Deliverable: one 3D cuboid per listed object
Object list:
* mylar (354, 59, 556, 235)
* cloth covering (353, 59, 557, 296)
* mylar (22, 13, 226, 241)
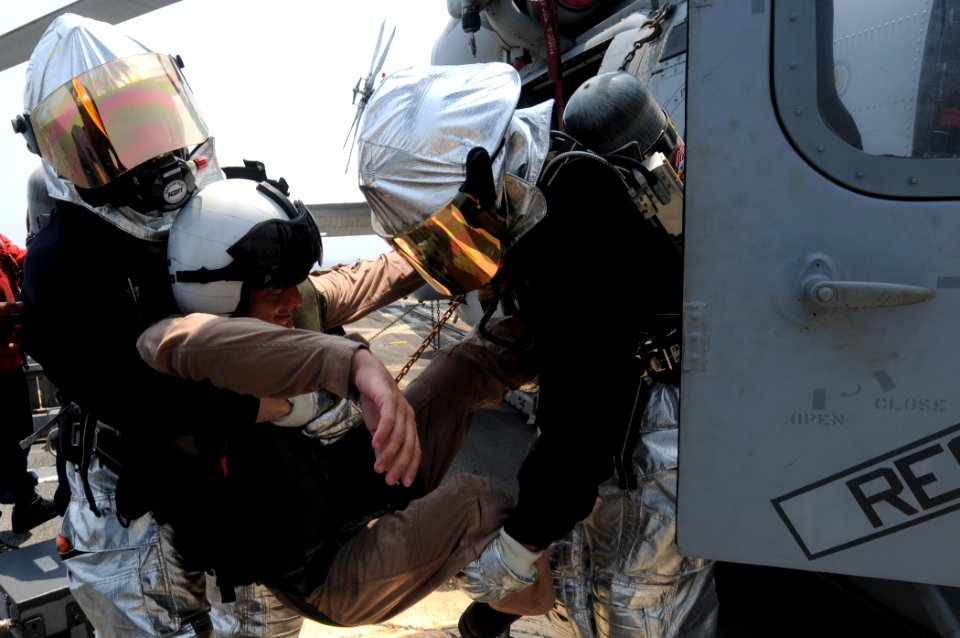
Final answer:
[{"bbox_3d":[-0.079,-0.548,2.268,0.602,0.466,0.611,-34,34,-4],"label":"mylar"},{"bbox_3d":[-0.068,-0.583,2.500,0.750,0.697,0.648,-27,34,-10],"label":"cloth covering"},{"bbox_3d":[-1.441,-0.795,2.683,0.783,0.729,0.630,21,42,37],"label":"mylar"}]
